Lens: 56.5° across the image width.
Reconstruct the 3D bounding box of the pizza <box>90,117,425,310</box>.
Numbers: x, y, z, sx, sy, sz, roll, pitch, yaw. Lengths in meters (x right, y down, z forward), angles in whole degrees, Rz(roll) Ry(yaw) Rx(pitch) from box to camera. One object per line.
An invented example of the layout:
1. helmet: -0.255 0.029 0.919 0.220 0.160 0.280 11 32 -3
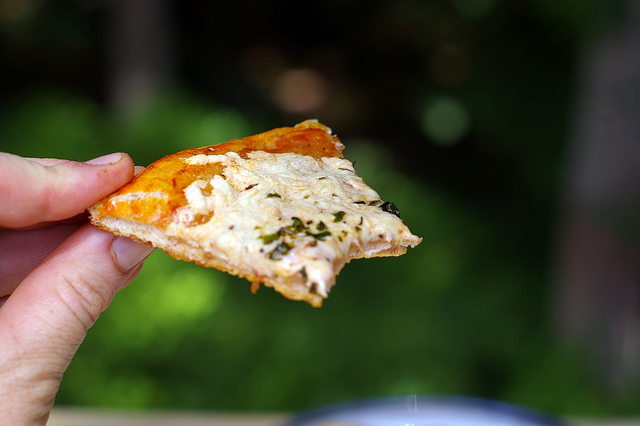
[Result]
1. pizza: -0.288 -0.039 2.704 1.353 0.233 1.344 -3 33 -16
